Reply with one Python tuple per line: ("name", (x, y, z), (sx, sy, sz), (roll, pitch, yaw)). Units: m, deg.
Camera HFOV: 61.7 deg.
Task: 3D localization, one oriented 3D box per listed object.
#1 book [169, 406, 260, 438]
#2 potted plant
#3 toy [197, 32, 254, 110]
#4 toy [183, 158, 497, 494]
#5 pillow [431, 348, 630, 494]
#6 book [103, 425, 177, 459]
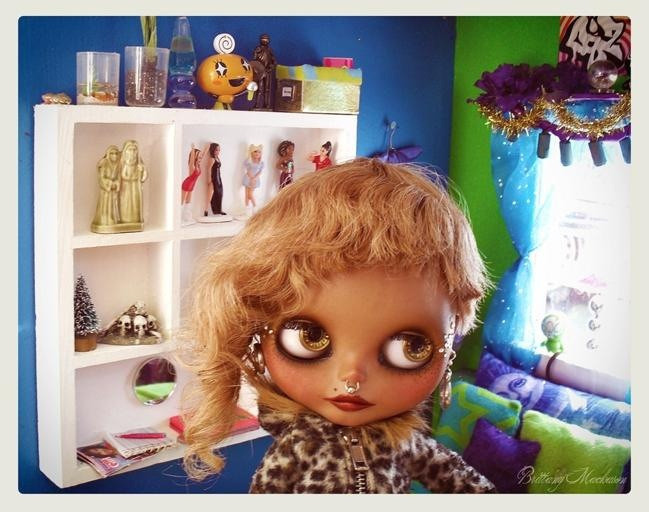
("book", (-0.308, 0.483, 1.580), (0.160, 0.035, 0.155), (0, 2, -21))
("potted plant", (-0.534, -0.590, 1.639), (0.138, 0.282, 0.090), (-4, 8, -8))
("toy", (-0.309, -0.568, 1.687), (0.187, 0.226, 0.152), (-5, 27, -22))
("toy", (0.013, 0.238, 1.521), (0.904, 1.004, 0.330), (-1, 8, 12))
("pillow", (0.664, 0.530, 1.760), (0.545, 0.484, 0.157), (21, -10, -6))
("book", (-0.574, 0.575, 1.688), (0.137, 0.030, 0.135), (6, 8, 43))
